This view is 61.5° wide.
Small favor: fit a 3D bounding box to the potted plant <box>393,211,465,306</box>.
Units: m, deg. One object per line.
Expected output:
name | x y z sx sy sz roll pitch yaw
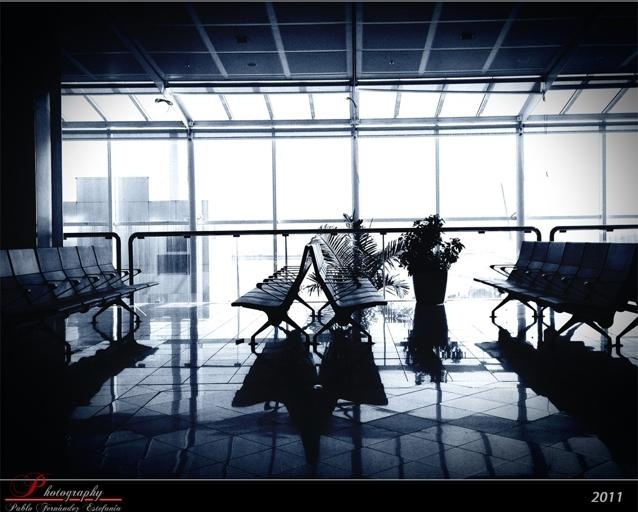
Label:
potted plant | 1.416 0.059 6.855 0.784 1.145 0.345 1 5 7
